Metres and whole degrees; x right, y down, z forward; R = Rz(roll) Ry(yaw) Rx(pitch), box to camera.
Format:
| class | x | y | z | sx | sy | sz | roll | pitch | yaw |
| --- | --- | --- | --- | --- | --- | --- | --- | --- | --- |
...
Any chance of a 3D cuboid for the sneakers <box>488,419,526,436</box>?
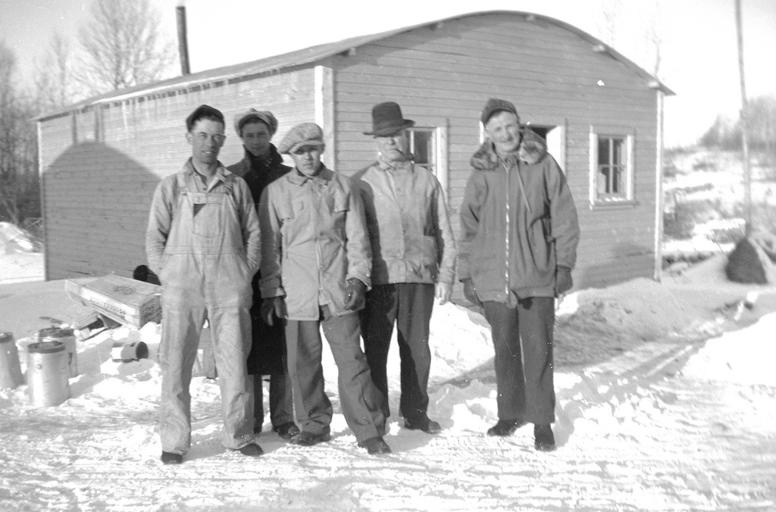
| class | x | y | z | sx | sy | sz | roll | pitch | yaw |
| --- | --- | --- | --- | --- | --- | --- | --- | --- | --- |
| sneakers | 1.184 | 1.700 | 6.638 | 0.355 | 0.140 | 0.128 | 0 | 3 | -17 |

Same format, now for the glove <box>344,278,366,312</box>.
| class | x | y | z | sx | sy | sz | roll | pitch | yaw |
| --- | --- | --- | --- | --- | --- | --- | --- | --- | --- |
| glove | -0.305 | 0.360 | 6.362 | 0.119 | 0.306 | 0.296 | 10 | 13 | 42 |

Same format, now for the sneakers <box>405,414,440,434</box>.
| class | x | y | z | sx | sy | sz | roll | pitch | yaw |
| --- | --- | --- | --- | --- | --- | --- | --- | --- | --- |
| sneakers | 0.329 | 1.664 | 6.697 | 0.411 | 0.260 | 0.146 | -2 | 4 | 1 |

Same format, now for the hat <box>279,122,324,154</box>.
| class | x | y | z | sx | sy | sz | roll | pitch | yaw |
| --- | --- | --- | --- | --- | --- | --- | --- | --- | --- |
| hat | -0.822 | -1.100 | 6.304 | 0.404 | 0.295 | 0.168 | -1 | 10 | -11 |

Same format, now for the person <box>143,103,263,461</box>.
| class | x | y | z | sx | sy | sz | roll | pitch | yaw |
| --- | --- | --- | --- | --- | --- | --- | --- | --- | --- |
| person | -1.710 | 0.271 | 6.222 | 1.031 | 3.270 | 0.655 | 0 | 10 | -11 |

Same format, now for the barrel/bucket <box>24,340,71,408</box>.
| class | x | y | z | sx | sy | sz | roll | pitch | yaw |
| --- | --- | --- | --- | --- | --- | --- | --- | --- | --- |
| barrel/bucket | -3.844 | 1.330 | 7.558 | 0.418 | 0.663 | 0.337 | -4 | 11 | -28 |

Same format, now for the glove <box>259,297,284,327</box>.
| class | x | y | z | sx | sy | sz | roll | pitch | yaw |
| --- | --- | --- | --- | --- | --- | --- | --- | --- | --- |
| glove | -1.097 | 0.529 | 6.350 | 0.271 | 0.257 | 0.083 | 0 | -2 | 31 |

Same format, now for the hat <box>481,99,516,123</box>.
| class | x | y | z | sx | sy | sz | roll | pitch | yaw |
| --- | --- | --- | --- | --- | --- | --- | --- | --- | --- |
| hat | 1.055 | -1.384 | 6.396 | 0.322 | 0.241 | 0.254 | 3 | 10 | 8 |
